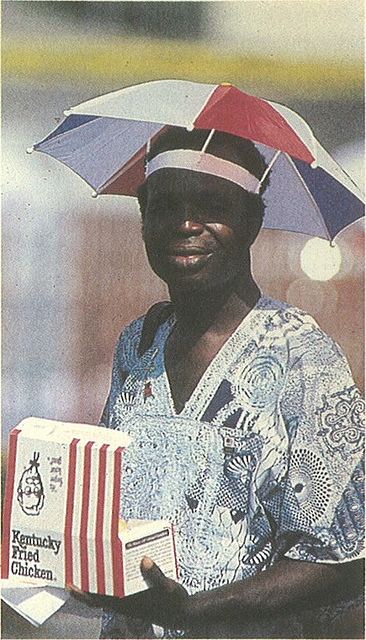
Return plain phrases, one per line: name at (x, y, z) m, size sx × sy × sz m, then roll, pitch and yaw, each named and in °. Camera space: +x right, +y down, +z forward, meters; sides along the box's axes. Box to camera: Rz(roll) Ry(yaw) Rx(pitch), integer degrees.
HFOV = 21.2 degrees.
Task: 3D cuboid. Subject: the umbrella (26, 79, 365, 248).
umbrella at (0.141, -0.702, 3.968) m, size 0.906 × 0.323 × 0.900 m, roll 28°, pitch -12°, yaw -36°
